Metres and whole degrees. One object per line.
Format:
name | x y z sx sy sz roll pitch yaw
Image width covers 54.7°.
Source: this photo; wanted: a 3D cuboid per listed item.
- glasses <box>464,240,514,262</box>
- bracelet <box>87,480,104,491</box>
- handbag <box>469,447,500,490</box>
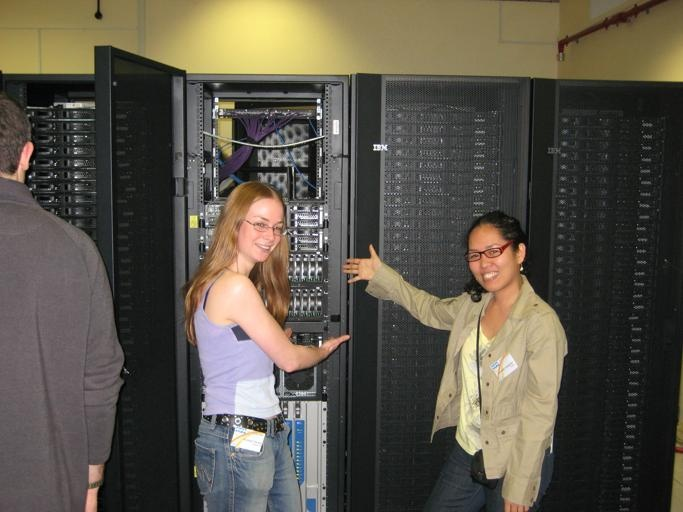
glasses | 0.705 -0.013 3.209 0.128 0.039 0.130 -19 6 44
bracelet | -1.082 1.016 2.895 0.069 0.017 0.066 1 -3 -10
handbag | 0.667 1.028 3.194 0.130 0.181 0.185 -3 -1 10
